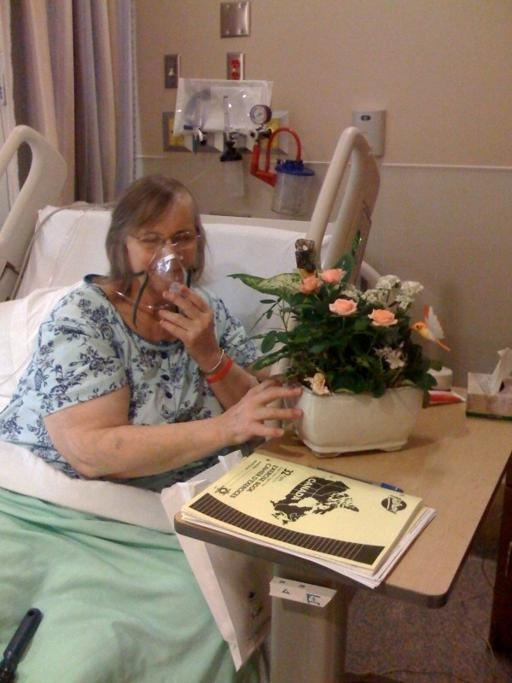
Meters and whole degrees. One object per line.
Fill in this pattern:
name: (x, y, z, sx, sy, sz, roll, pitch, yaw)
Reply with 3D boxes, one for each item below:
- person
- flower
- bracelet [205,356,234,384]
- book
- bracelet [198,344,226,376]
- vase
person: (-0.170, -0.012, 1.194, 0.732, 0.581, 0.525, 5, 6, 44)
flower: (0.124, 0.016, 0.858, 0.312, 0.196, 0.383, 9, -1, 19)
bracelet: (-0.071, 0.062, 1.201, 0.057, 0.021, 0.047, -42, 22, -16)
book: (0.057, 0.184, 0.645, 0.251, 0.013, 0.229, 7, 10, 30)
bracelet: (-0.090, 0.038, 1.166, 0.013, 0.050, 0.052, 29, 34, -4)
vase: (0.161, 0.106, 0.870, 0.167, 0.108, 0.206, -2, 9, -11)
